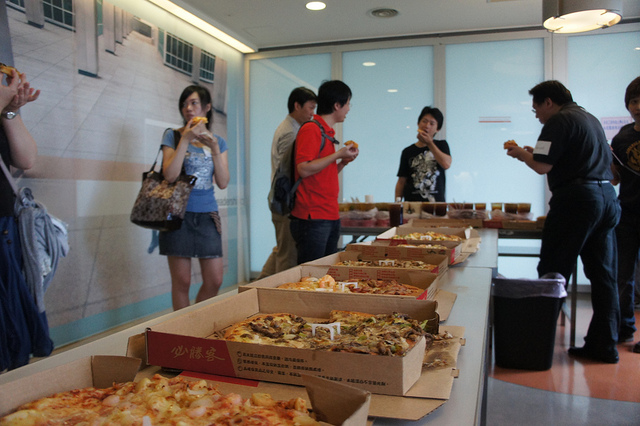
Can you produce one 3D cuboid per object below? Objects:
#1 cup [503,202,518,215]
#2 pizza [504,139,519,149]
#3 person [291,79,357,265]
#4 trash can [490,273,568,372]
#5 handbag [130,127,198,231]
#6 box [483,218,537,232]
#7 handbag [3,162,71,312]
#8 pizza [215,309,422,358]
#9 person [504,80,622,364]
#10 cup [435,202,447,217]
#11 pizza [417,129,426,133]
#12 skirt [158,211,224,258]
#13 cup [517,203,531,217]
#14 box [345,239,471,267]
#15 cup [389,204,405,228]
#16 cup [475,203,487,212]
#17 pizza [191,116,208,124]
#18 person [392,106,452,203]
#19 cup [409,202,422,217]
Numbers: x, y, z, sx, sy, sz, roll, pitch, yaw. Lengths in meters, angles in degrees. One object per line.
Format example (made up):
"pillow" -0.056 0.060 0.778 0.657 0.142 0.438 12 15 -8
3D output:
"cup" 1.729 -0.052 4.175 0.128 0.134 0.122 -3 6 0
"pizza" 1.539 -0.557 3.734 0.089 0.047 0.121 2 17 34
"person" 0.031 -0.277 3.187 0.470 1.240 0.360 -4 13 -20
"trash can" 1.512 0.771 3.468 0.609 0.630 0.634 4 -8 4
"handbag" -1.096 -0.110 3.296 0.423 0.465 0.260 4 12 16
"box" 1.586 0.104 3.878 0.421 0.093 0.064 4 12 18
"handbag" -1.496 0.124 2.473 0.213 0.789 0.281 1 12 1
"pizza" 0.040 0.410 1.638 0.419 0.053 0.262 0 2 17
"person" 1.890 0.066 3.465 0.825 2.069 0.486 8 14 31
"cup" 1.062 -0.026 4.072 0.116 0.124 0.111 -2 3 0
"pizza" 0.985 -0.797 4.498 0.067 0.027 0.146 1 11 1
"skirt" -0.898 0.135 3.448 0.415 0.351 0.222 6 0 -2
"cup" 1.784 -0.030 4.054 0.117 0.129 0.119 0 -1 0
"box" 0.492 0.202 2.586 0.665 0.122 0.369 4 12 14
"cup" 0.665 0.024 3.993 0.131 0.233 0.357 3 12 10
"cup" 1.460 -0.049 4.213 0.080 0.086 0.079 -1 5 0
"pizza" -0.836 -0.642 3.214 0.093 0.044 0.213 -1 11 -8
"person" 1.071 -0.582 4.777 0.548 0.998 0.624 3 12 10
"cup" 0.847 -0.037 4.113 0.105 0.106 0.087 2 12 8
